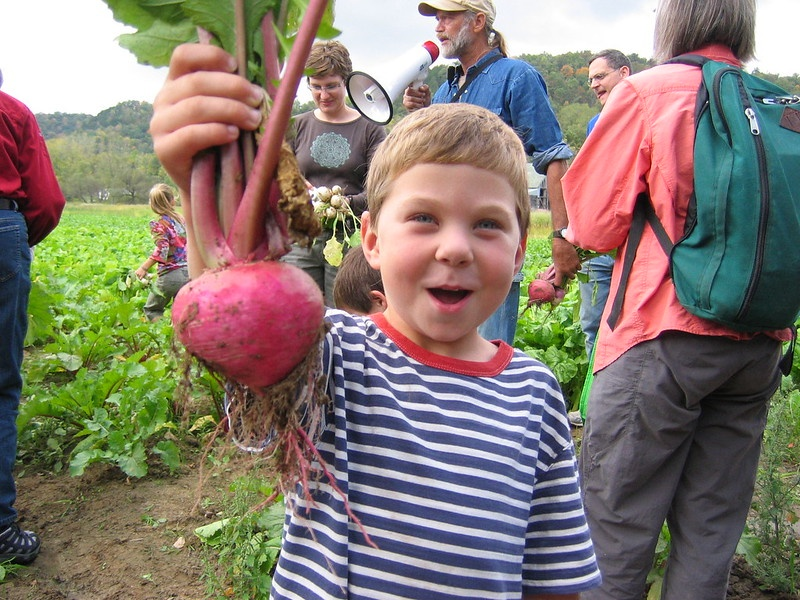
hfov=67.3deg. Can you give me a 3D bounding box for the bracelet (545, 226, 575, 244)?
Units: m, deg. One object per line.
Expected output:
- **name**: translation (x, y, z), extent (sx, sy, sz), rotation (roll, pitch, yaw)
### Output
- **bracelet**: translation (0.904, -0.351, 3.413), extent (0.142, 0.091, 0.146), rotation (2, -17, -17)
